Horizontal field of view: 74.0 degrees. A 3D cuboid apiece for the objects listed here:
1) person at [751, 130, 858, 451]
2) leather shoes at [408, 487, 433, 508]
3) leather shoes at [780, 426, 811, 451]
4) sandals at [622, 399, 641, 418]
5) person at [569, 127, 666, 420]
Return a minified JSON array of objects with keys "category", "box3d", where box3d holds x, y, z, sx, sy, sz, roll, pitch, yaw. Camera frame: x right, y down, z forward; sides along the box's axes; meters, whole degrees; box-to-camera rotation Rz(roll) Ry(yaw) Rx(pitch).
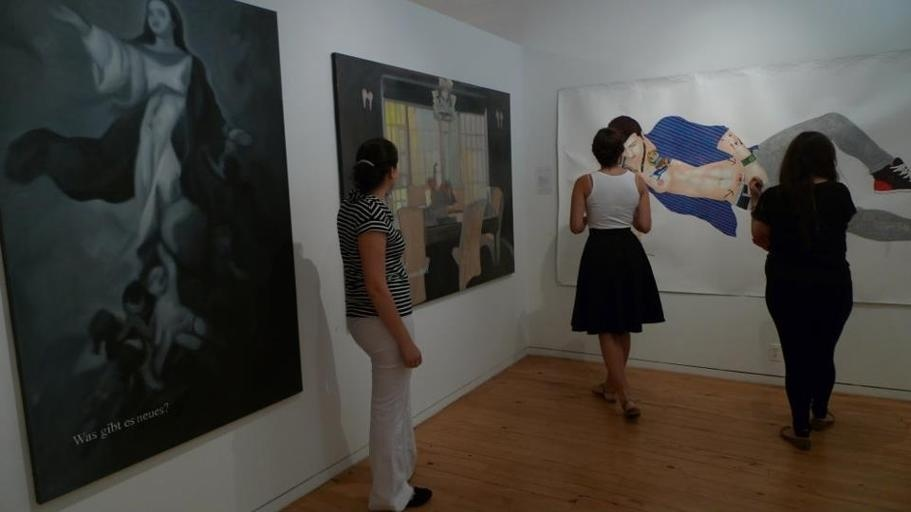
[{"category":"person","box3d":[2.869,0.293,5.054,0.763,2.601,0.445,2,12,21]},{"category":"leather shoes","box3d":[-0.278,1.878,4.719,0.193,0.076,0.097,-13,39,-34]},{"category":"leather shoes","box3d":[2.872,1.544,5.172,0.125,0.091,0.241,-20,38,-15]},{"category":"sandals","box3d":[1.626,1.420,5.599,0.167,0.164,0.086,-1,11,6]},{"category":"person","box3d":[1.488,0.157,5.628,0.811,2.624,0.581,-1,11,10]}]
